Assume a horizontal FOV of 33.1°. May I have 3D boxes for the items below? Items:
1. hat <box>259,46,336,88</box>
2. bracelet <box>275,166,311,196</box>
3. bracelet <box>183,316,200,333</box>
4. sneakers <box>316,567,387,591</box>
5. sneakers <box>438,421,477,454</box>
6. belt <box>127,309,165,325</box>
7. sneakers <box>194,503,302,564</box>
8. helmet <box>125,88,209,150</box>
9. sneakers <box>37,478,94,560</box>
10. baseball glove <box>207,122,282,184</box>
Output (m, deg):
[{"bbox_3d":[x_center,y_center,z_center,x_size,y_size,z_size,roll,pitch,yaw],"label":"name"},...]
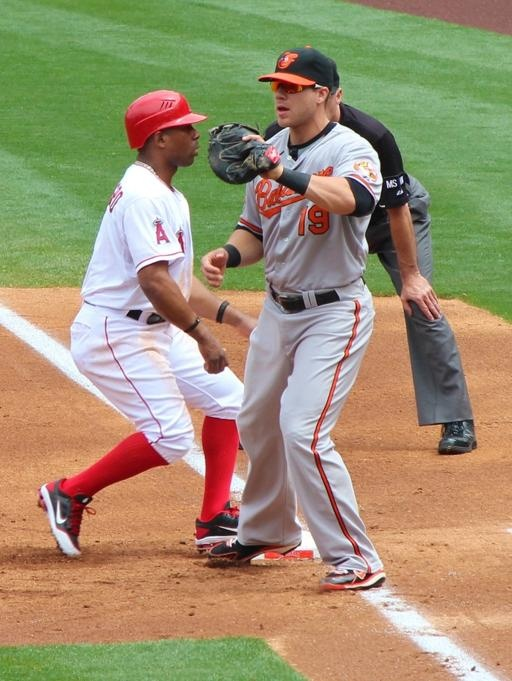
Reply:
[{"bbox_3d":[0.172,-0.879,2.855,0.248,0.106,0.170,-4,9,-35],"label":"hat"},{"bbox_3d":[0.114,-0.468,2.529,0.112,0.055,0.045,23,-4,23],"label":"bracelet"},{"bbox_3d":[-0.220,-0.053,2.979,0.057,0.038,0.052,-33,3,-6],"label":"bracelet"},{"bbox_3d":[0.303,0.753,2.754,0.219,0.071,0.069,1,8,-16],"label":"sneakers"},{"bbox_3d":[1.012,0.499,4.361,0.163,0.165,0.156,6,9,10],"label":"sneakers"},{"bbox_3d":[-0.397,-0.079,3.146,0.097,0.027,0.066,17,1,-18],"label":"belt"},{"bbox_3d":[-0.041,0.727,3.225,0.477,0.165,0.137,-3,5,10],"label":"sneakers"},{"bbox_3d":[-0.359,-0.814,3.214,0.330,0.137,0.194,-13,15,3],"label":"helmet"},{"bbox_3d":[-0.709,0.658,3.182,0.178,0.279,0.224,2,9,-17],"label":"sneakers"},{"bbox_3d":[-0.061,-0.576,2.675,0.130,0.193,0.262,45,-6,-33],"label":"baseball glove"}]
